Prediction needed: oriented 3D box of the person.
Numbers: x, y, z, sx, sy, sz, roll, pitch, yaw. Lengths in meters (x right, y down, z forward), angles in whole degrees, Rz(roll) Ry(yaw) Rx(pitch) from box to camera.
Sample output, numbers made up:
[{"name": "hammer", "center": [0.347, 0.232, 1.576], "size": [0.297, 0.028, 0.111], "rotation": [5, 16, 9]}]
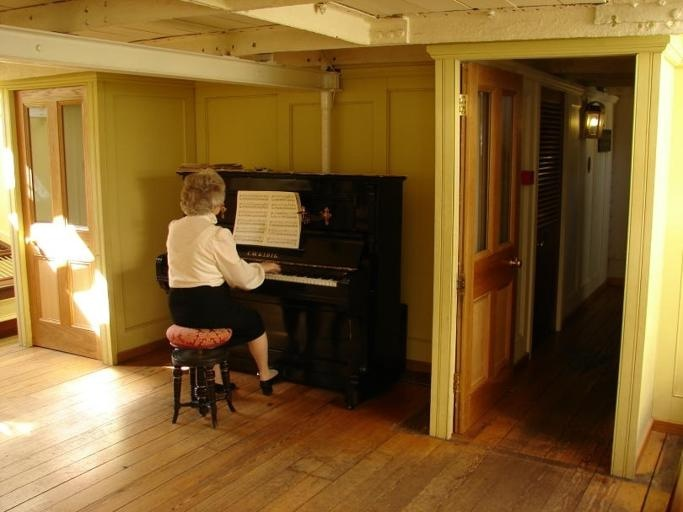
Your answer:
[{"name": "person", "center": [-0.961, 0.043, 4.106], "size": [0.702, 1.334, 0.420], "rotation": [-5, 14, -17]}]

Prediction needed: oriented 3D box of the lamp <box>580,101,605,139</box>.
[{"name": "lamp", "center": [3.009, -1.586, 6.412], "size": [0.225, 0.329, 0.226], "rotation": [-5, 18, -43]}]

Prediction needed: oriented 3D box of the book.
[{"name": "book", "center": [-0.660, -0.332, 4.818], "size": [0.625, 0.522, 0.163], "rotation": [5, -3, 22]}]

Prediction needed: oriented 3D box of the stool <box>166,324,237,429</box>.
[{"name": "stool", "center": [-1.080, 0.923, 4.209], "size": [0.459, 0.633, 0.468], "rotation": [-3, 0, -38]}]

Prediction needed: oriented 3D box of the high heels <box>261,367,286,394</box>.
[{"name": "high heels", "center": [-0.595, 1.078, 4.759], "size": [0.105, 0.113, 0.301], "rotation": [2, 21, 10]}]

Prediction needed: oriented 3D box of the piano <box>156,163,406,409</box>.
[{"name": "piano", "center": [-0.548, 0.197, 5.066], "size": [2.154, 1.844, 1.170], "rotation": [4, 6, 35]}]
